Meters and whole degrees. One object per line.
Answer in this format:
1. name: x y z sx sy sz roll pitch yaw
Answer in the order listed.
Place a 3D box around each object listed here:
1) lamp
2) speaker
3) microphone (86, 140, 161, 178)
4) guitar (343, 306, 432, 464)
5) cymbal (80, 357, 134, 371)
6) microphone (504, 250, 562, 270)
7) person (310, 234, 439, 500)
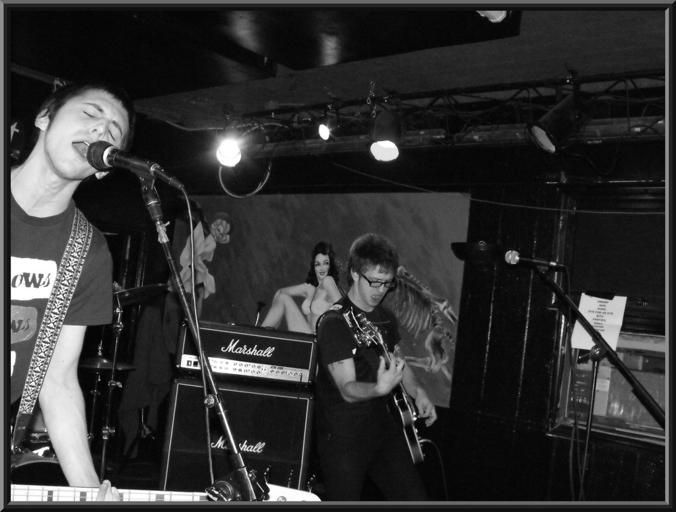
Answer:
1. lamp: 0.710 -0.936 4.505 3.205 0.587 1.008 1 -2 18
2. speaker: -0.509 1.077 3.368 0.606 0.627 0.340 21 -28 -33
3. microphone: -0.759 -0.341 2.027 0.346 0.102 0.123 0 -2 37
4. guitar: 0.285 0.767 3.387 0.218 0.536 1.383 -23 -37 -3
5. cymbal: -1.877 0.870 4.699 0.271 0.072 0.281 10 -4 -2
6. microphone: 1.097 0.021 3.307 0.342 0.096 0.212 2 -2 2
7. person: 0.183 0.564 3.098 0.594 1.395 0.835 2 -1 -3
